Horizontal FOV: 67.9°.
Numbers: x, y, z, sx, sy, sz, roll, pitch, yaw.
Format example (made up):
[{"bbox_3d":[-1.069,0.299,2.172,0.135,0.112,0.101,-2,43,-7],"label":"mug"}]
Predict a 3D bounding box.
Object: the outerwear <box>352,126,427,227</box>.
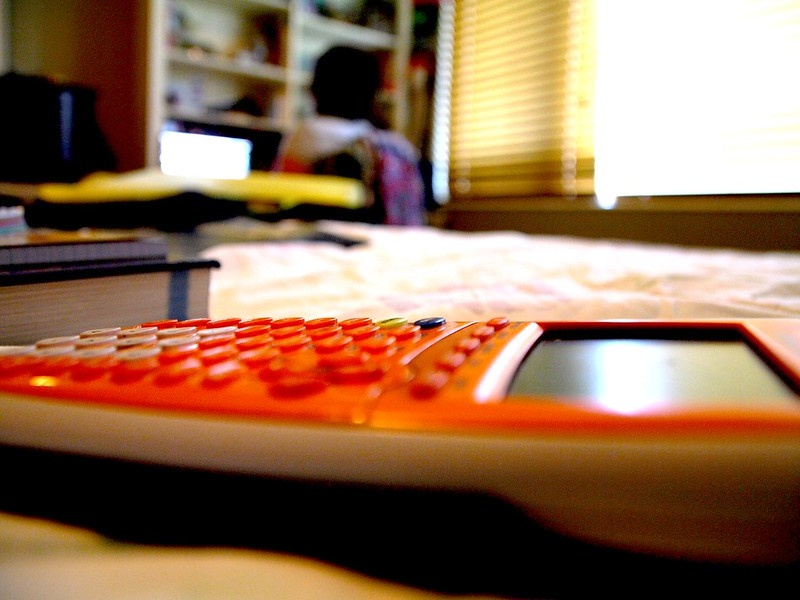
[{"bbox_3d":[-0.075,-0.358,1.776,0.113,0.295,0.222,-12,5,33],"label":"outerwear"}]
